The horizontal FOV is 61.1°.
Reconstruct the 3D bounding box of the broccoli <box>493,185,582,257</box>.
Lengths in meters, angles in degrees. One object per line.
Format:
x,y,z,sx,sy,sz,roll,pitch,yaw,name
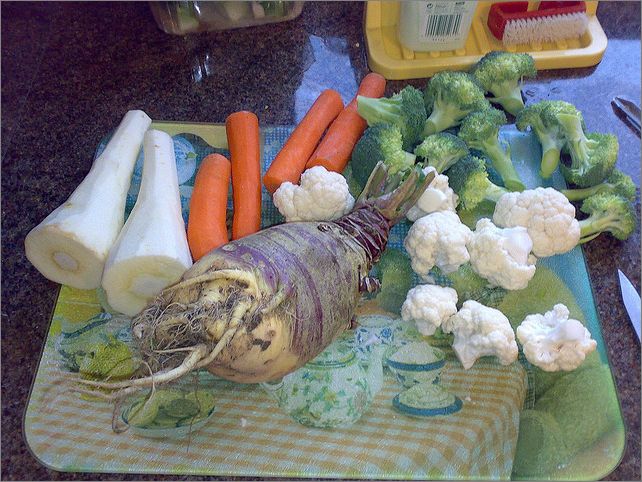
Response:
0.549,-0.058,1.350,0.160,0.168,0.207,-17,36,-25,broccoli

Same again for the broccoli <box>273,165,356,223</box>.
-0.017,-0.110,1.396,0.198,0.097,0.142,-20,66,-6,broccoli

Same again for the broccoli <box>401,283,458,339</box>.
0.274,0.159,1.345,0.125,0.069,0.128,29,70,15,broccoli

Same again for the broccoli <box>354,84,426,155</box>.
0.228,-0.374,1.548,0.187,0.150,0.232,-26,38,-37,broccoli

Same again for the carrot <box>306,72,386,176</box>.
0.070,-0.306,1.557,0.114,0.111,0.419,22,64,12,carrot

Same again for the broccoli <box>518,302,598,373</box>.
0.561,0.228,1.295,0.156,0.091,0.155,-36,69,-13,broccoli

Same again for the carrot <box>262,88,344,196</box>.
-0.042,-0.280,1.554,0.113,0.112,0.411,37,66,-17,carrot

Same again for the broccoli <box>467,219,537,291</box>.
0.454,0.031,1.365,0.172,0.109,0.141,25,69,13,broccoli

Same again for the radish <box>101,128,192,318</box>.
-0.396,-0.064,1.378,0.193,0.144,0.488,4,66,5,radish

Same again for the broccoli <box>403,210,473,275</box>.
0.305,0.005,1.373,0.167,0.120,0.146,-22,66,-7,broccoli

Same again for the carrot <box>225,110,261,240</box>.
-0.201,-0.179,1.465,0.088,0.087,0.348,-3,82,5,carrot

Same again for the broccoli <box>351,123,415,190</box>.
0.156,-0.226,1.454,0.141,0.131,0.141,1,66,4,broccoli

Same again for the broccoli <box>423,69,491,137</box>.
0.347,-0.378,1.500,0.138,0.179,0.167,-27,49,-26,broccoli

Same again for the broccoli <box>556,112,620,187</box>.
0.717,-0.243,1.459,0.142,0.150,0.185,-14,66,-3,broccoli

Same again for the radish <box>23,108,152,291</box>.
-0.600,-0.092,1.406,0.213,0.214,0.524,7,56,12,radish

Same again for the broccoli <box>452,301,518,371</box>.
0.389,0.222,1.314,0.138,0.092,0.165,-15,66,-4,broccoli

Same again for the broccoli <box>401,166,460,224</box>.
0.293,-0.112,1.450,0.120,0.138,0.126,14,32,29,broccoli

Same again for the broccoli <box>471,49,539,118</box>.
0.524,-0.461,1.616,0.184,0.186,0.176,-1,39,-4,broccoli

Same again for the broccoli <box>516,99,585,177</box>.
0.633,-0.303,1.507,0.161,0.188,0.210,4,88,-3,broccoli
